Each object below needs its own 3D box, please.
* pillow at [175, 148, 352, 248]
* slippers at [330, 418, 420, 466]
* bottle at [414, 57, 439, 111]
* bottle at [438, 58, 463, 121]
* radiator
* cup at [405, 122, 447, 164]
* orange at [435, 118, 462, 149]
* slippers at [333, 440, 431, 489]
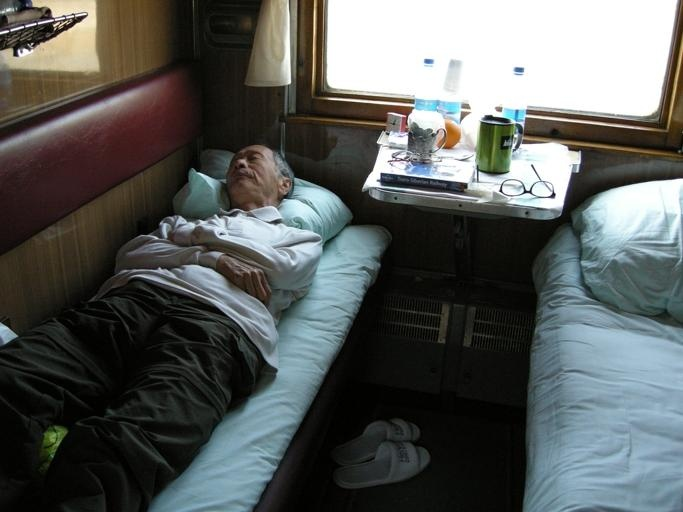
[{"bbox_3d":[-0.333,-0.240,2.327,0.498,0.171,0.508,19,35,4],"label":"pillow"},{"bbox_3d":[0.125,0.732,2.135,0.375,0.104,0.143,-17,49,-10],"label":"slippers"},{"bbox_3d":[0.368,-0.725,2.247,0.094,0.199,0.394,7,23,8],"label":"bottle"},{"bbox_3d":[0.446,-0.667,2.169,0.095,0.241,0.142,7,23,8],"label":"bottle"},{"bbox_3d":[0.512,0.281,2.365,0.830,0.264,0.180,7,-1,8],"label":"radiator"},{"bbox_3d":[0.305,-0.421,2.003,0.167,0.170,0.115,2,40,4],"label":"cup"},{"bbox_3d":[0.431,-0.481,2.132,0.117,0.140,0.114,-6,12,-2],"label":"orange"},{"bbox_3d":[0.148,0.838,2.116,0.372,0.113,0.155,-8,52,-7],"label":"slippers"}]
